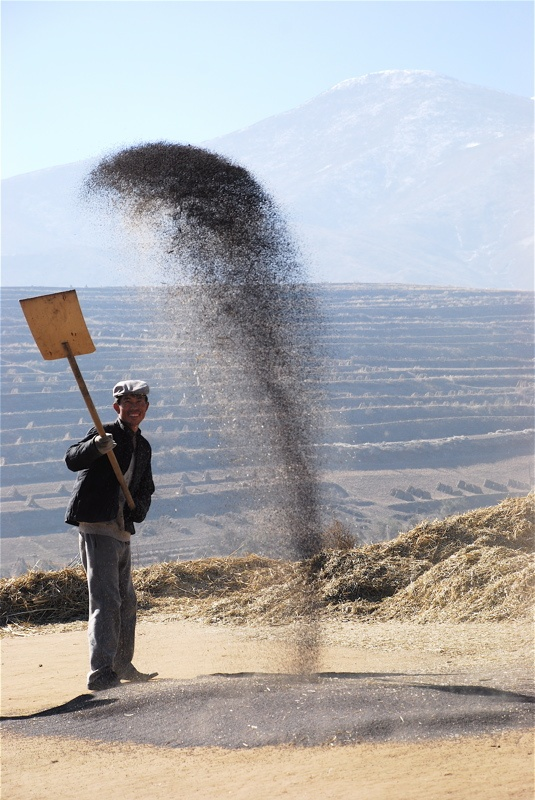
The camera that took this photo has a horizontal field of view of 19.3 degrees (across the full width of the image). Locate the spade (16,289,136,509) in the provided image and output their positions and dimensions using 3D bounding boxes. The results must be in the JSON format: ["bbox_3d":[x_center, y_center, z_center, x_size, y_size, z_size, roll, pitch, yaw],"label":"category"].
[{"bbox_3d":[-1.454,-0.117,11.930,0.518,2.319,0.100,-18,17,0],"label":"spade"}]

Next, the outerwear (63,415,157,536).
[{"bbox_3d":[-1.210,0.641,12.121,0.477,0.923,0.775,-2,8,35],"label":"outerwear"}]

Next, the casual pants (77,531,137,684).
[{"bbox_3d":[-1.207,1.544,12.173,0.331,1.304,0.557,-5,-3,26],"label":"casual pants"}]

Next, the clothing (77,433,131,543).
[{"bbox_3d":[-1.212,0.696,12.111,0.438,0.791,0.206,3,-2,6],"label":"clothing"}]
